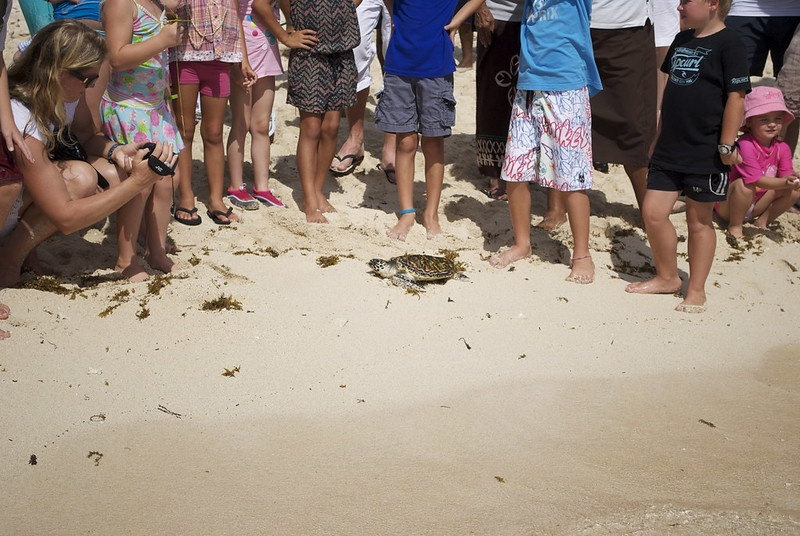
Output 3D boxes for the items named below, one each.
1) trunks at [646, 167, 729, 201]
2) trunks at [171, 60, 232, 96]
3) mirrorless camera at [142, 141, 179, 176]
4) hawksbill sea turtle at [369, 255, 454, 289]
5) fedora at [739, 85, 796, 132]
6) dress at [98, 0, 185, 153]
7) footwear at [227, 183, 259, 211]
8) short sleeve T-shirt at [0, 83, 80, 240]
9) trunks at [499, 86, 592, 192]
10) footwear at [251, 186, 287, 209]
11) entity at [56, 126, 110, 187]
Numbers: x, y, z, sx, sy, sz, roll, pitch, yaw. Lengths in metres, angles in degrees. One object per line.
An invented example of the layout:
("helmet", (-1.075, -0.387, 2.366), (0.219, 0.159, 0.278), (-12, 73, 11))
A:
("trunks", (2.037, -0.670, 5.930), (0.500, 0.232, 0.265), (1, 14, 25))
("trunks", (-1.545, -1.527, 6.391), (0.404, 0.296, 0.242), (7, 19, 13))
("mirrorless camera", (-1.556, -0.741, 5.237), (0.239, 0.085, 0.170), (44, 24, 9))
("hawksbill sea turtle", (0.121, 0.012, 5.977), (0.370, 0.126, 0.332), (-7, 14, -20))
("fedora", (2.845, -1.237, 6.325), (0.321, 0.214, 0.403), (-1, 0, 7))
("dress", (-1.769, -1.319, 5.518), (0.515, 1.071, 0.499), (7, 56, -14))
("footwear", (-1.316, -0.610, 6.901), (0.278, 0.131, 0.156), (25, 38, 31))
("short sleeve T-shirt", (-2.476, -0.680, 5.282), (0.263, 0.869, 0.601), (11, -2, 24))
("trunks", (1.123, -0.984, 6.118), (0.692, 0.891, 0.497), (15, 23, 38))
("footwear", (-1.105, -0.607, 6.968), (0.321, 0.130, 0.133), (27, 19, 7))
("entity", (-2.142, -0.774, 5.683), (0.209, 0.391, 0.594), (26, 12, -17))
